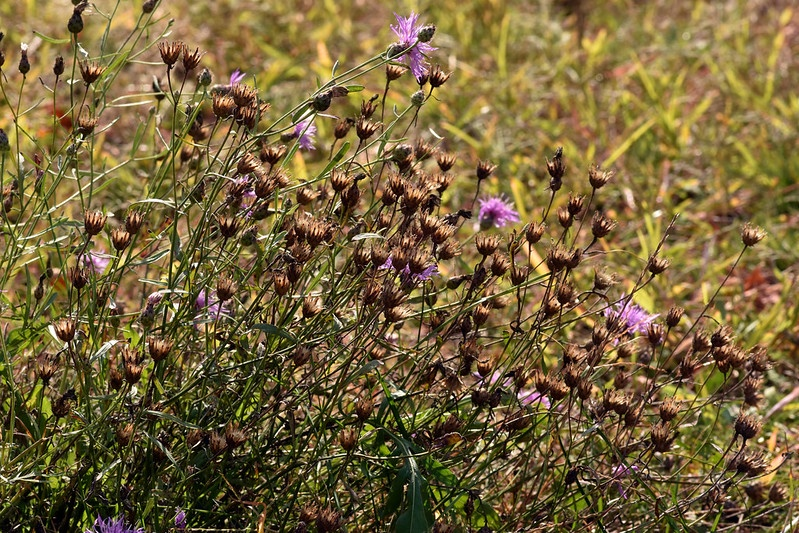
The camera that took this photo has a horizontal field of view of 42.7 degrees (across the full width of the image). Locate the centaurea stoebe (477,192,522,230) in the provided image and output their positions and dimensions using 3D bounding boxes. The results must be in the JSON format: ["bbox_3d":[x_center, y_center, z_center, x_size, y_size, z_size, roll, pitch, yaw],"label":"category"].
[{"bbox_3d":[0.310,-0.195,3.357,0.126,0.128,0.133,23,80,-28],"label":"centaurea stoebe"}]
